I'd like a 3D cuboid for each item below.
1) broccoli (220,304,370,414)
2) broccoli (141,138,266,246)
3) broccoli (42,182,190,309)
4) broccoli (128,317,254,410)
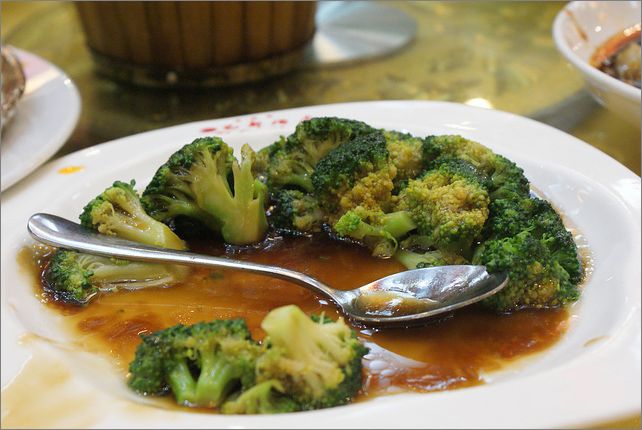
[{"bbox_3d":[-0.065,0.392,1.435,0.328,0.252,0.247,-7,73,22],"label":"broccoli"},{"bbox_3d":[-0.341,-0.047,1.813,0.334,0.376,0.310,-51,55,15],"label":"broccoli"},{"bbox_3d":[-0.599,0.071,1.676,0.449,0.150,0.409,-2,66,25],"label":"broccoli"},{"bbox_3d":[-0.328,0.373,1.396,0.246,0.226,0.140,-3,80,21],"label":"broccoli"}]
